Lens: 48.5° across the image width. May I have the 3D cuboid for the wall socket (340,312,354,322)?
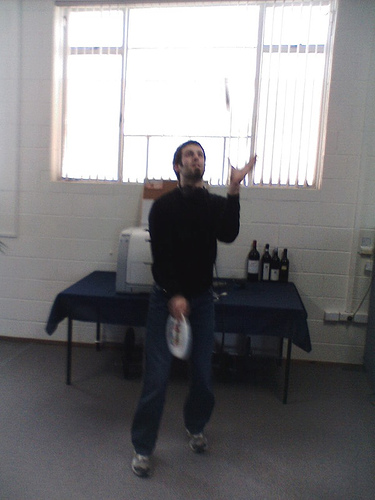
[{"bbox_3d":[1.128,0.476,2.957,0.055,0.073,0.039,1,3,4],"label":"wall socket"}]

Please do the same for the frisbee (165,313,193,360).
[{"bbox_3d":[-0.042,0.338,1.655,0.135,0.183,0.047,5,6,39],"label":"frisbee"}]

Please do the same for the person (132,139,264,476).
[{"bbox_3d":[0.019,0.210,1.696,0.376,1.358,0.471,4,2,29],"label":"person"}]

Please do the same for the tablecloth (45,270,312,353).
[{"bbox_3d":[-0.028,0.333,2.572,1.477,0.345,0.604,2,5,2],"label":"tablecloth"}]
